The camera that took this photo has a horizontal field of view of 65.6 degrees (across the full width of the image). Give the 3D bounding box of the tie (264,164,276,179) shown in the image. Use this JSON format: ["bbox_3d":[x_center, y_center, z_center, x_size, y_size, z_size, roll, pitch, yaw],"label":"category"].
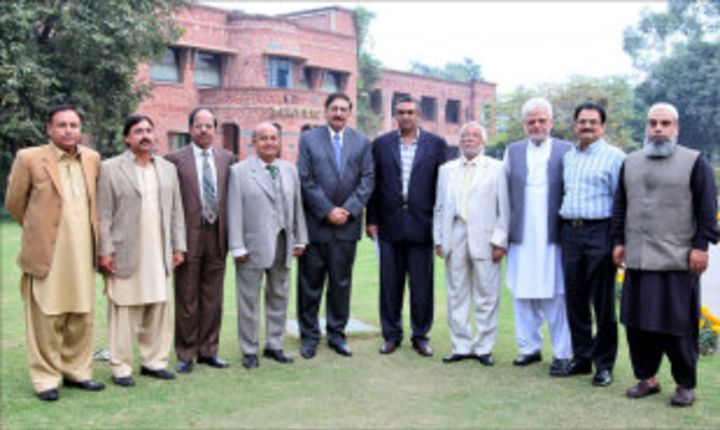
[{"bbox_3d":[-1.195,-0.595,7.543,0.143,0.170,0.048,-13,1,-19],"label":"tie"}]
